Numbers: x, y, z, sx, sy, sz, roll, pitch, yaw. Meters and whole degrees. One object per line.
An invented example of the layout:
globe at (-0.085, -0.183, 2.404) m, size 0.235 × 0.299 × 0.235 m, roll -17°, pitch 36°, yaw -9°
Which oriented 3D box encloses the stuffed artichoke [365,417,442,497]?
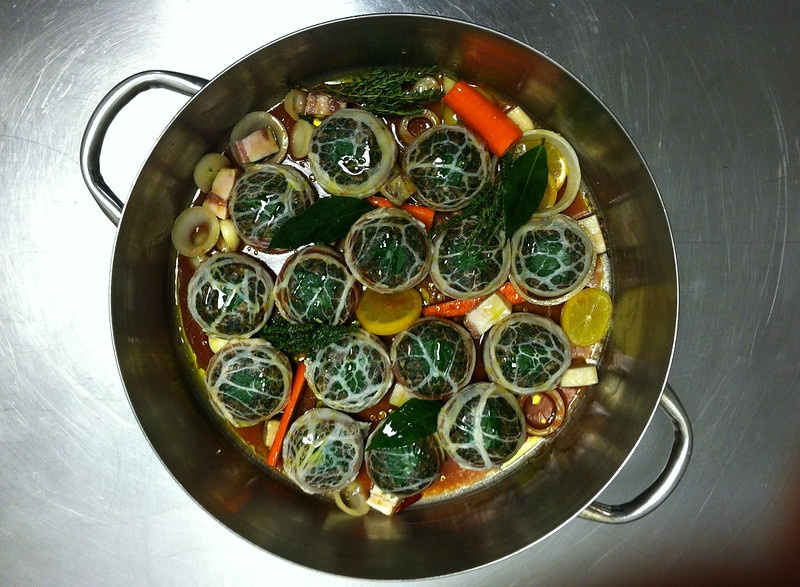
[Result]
stuffed artichoke at (-0.032, 1.057, 4.861) m, size 0.443 × 0.260 × 0.478 m, roll 1°, pitch 49°, yaw -37°

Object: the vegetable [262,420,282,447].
vegetable at (-0.814, 0.869, 5.016) m, size 0.134 × 0.052 × 0.153 m, roll -12°, pitch 85°, yaw 35°
